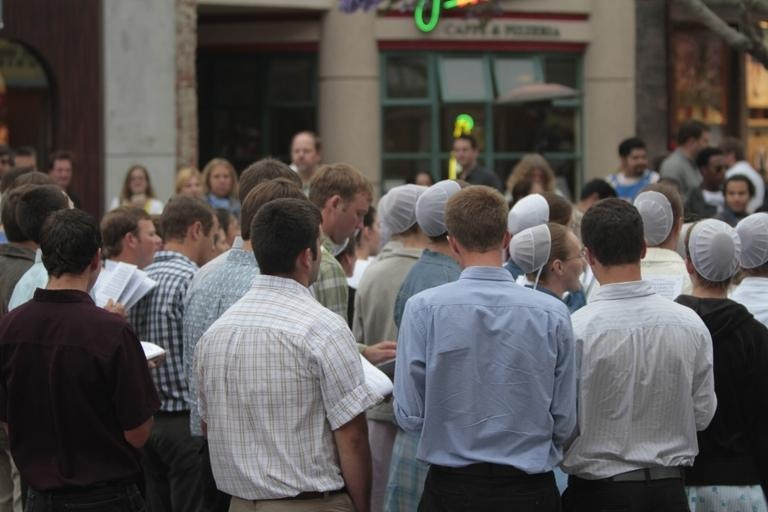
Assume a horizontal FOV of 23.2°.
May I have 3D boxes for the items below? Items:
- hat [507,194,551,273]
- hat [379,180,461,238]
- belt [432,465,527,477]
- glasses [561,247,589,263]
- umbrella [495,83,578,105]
[{"bbox_3d":[1.359,-0.178,17.128,0.503,0.556,0.382,-26,29,-30],"label":"hat"},{"bbox_3d":[0.309,-0.432,17.235,0.660,0.503,0.366,-9,-18,29],"label":"hat"},{"bbox_3d":[0.832,1.835,16.000,0.815,0.123,0.060,-1,-1,9],"label":"belt"},{"bbox_3d":[1.794,-0.004,17.007,0.157,0.116,0.447,-1,-1,21],"label":"glasses"},{"bbox_3d":[1.859,-1.943,22.366,0.270,0.271,1.677,0,-1,-23],"label":"umbrella"}]
